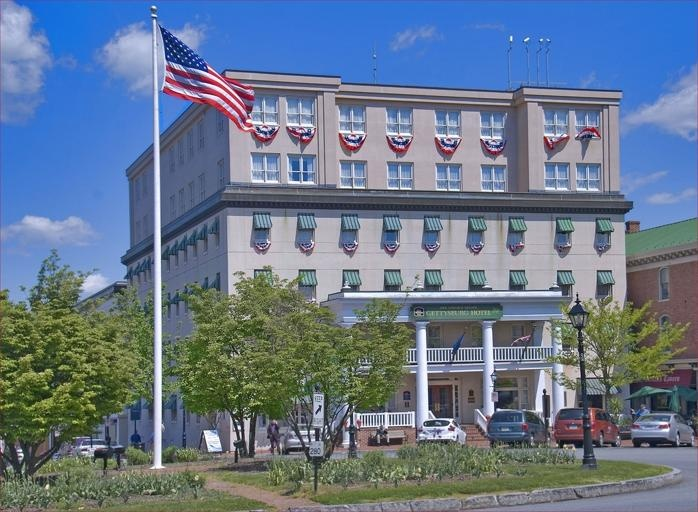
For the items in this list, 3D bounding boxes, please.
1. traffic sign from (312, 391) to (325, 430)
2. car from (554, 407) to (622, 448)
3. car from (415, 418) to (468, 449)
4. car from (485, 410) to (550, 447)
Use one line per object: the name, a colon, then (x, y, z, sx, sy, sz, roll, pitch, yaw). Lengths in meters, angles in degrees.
traffic sign: (-1.501, 7.369, 74.507, 0.519, 1.629, 0.656, 0, -13, -3)
car: (14.333, 10.220, 92.611, 2.423, 1.883, 4.966, -3, -4, 28)
car: (5.463, 10.383, 92.458, 2.825, 1.730, 2.722, 0, -14, -6)
car: (9.749, 9.964, 90.343, 3.808, 2.338, 1.734, 5, -15, -25)
